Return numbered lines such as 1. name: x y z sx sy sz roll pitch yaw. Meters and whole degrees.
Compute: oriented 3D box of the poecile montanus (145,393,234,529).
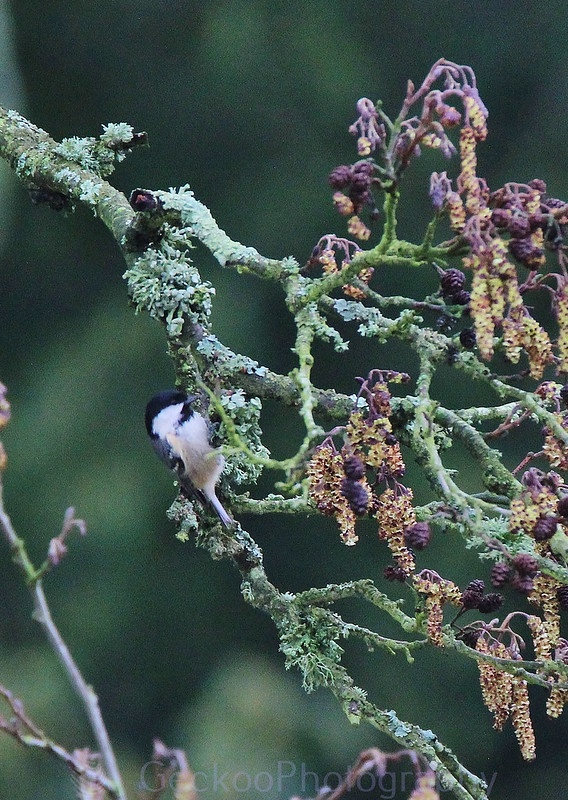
1. poecile montanus: -0.288 0.175 3.839 0.229 0.390 0.227 -8 -1 4
